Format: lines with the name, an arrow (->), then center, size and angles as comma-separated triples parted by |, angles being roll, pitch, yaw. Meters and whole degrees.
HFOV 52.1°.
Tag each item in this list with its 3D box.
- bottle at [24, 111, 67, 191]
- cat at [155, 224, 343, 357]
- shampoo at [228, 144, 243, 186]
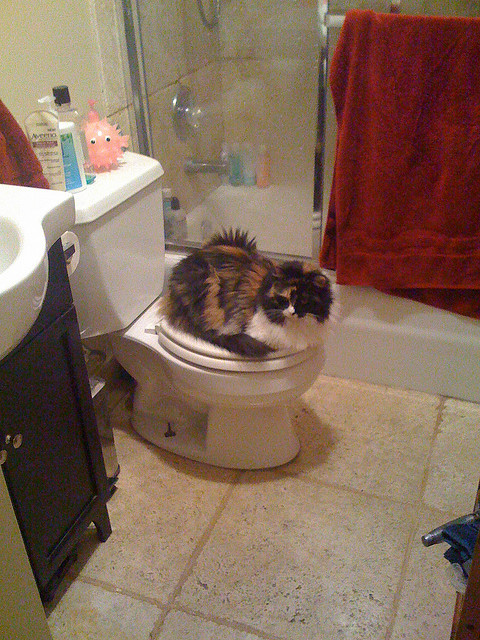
bottle -> -0.382, -0.330, 0.975 | 0.065, 0.155, 0.035 | -15, 27, -26
cat -> 0.006, -0.054, 1.135 | 0.425, 0.200, 0.259 | 25, 39, 37
shampoo -> -0.017, -0.567, 1.765 | 0.041, 0.158, 0.055 | 4, 38, 5
